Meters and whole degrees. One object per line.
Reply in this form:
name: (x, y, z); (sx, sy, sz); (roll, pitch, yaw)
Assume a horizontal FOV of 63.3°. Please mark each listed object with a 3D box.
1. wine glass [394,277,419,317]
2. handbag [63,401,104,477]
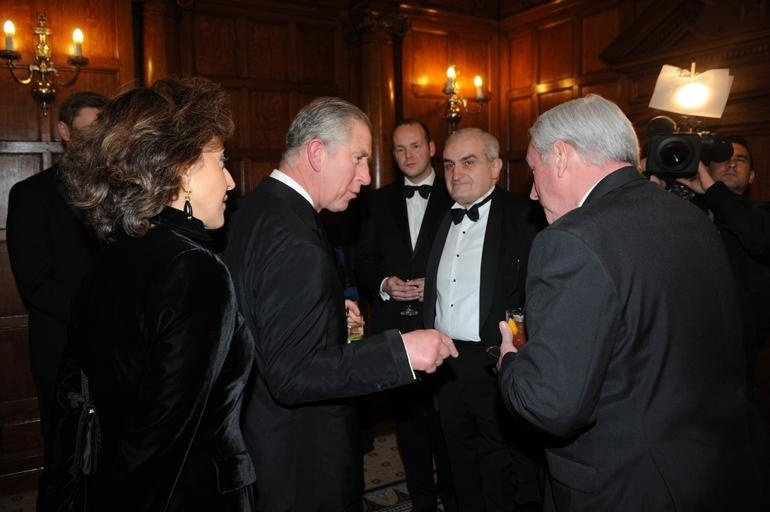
wine glass: (0.150, 0.272, 3.969); (0.201, 0.185, 0.198); (-1, 6, -2)
handbag: (-0.936, 0.588, 1.973); (0.131, 0.234, 0.065); (10, 14, 36)
